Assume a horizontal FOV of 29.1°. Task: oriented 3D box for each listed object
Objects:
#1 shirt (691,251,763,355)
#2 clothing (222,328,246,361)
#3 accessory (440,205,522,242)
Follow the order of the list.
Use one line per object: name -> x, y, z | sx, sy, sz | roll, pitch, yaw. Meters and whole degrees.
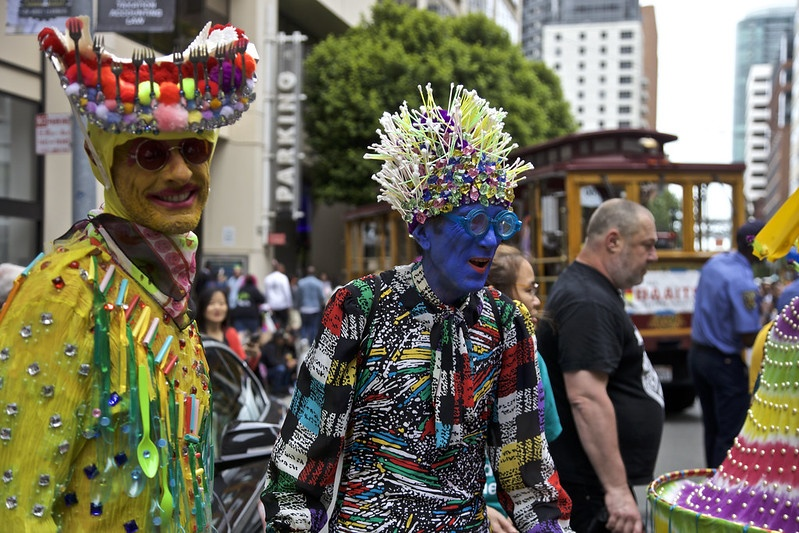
shirt -> 3.122, 0.364, 14.667 | 0.541, 0.966, 1.060 | 0, 5, -14
clothing -> -1.706, 0.811, 15.864 | 0.136, 0.379, 0.283 | -23, 7, 15
accessory -> 0.595, -0.303, 11.002 | 0.529, 0.236, 0.119 | -2, -1, 1
